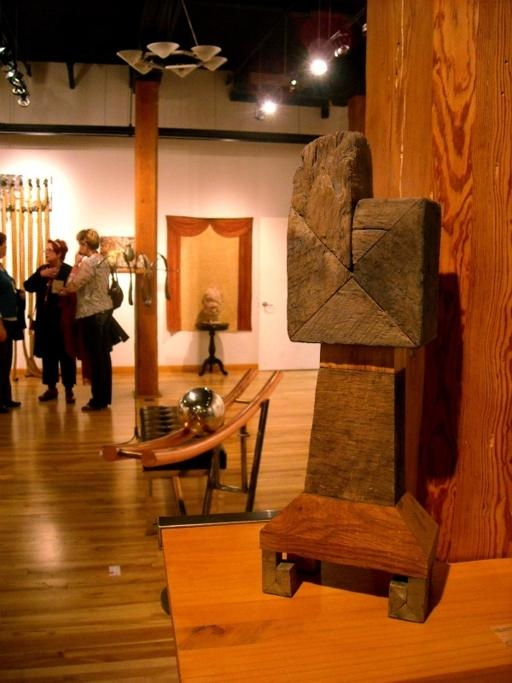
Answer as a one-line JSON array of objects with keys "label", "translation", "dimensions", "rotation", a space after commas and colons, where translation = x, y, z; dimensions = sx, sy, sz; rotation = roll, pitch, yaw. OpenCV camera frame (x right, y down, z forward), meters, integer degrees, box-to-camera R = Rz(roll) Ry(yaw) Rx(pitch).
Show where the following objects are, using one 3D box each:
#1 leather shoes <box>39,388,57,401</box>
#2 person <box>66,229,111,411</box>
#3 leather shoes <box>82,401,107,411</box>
[{"label": "leather shoes", "translation": [-2.265, 0.587, 6.737], "dimensions": [0.192, 0.118, 0.098], "rotation": [1, -1, -21]}, {"label": "person", "translation": [-1.647, -0.201, 6.148], "dimensions": [0.439, 1.806, 0.495], "rotation": [-1, 4, -14]}, {"label": "leather shoes", "translation": [-1.642, 0.648, 6.258], "dimensions": [0.182, 0.127, 0.108], "rotation": [-5, 1, 9]}]
